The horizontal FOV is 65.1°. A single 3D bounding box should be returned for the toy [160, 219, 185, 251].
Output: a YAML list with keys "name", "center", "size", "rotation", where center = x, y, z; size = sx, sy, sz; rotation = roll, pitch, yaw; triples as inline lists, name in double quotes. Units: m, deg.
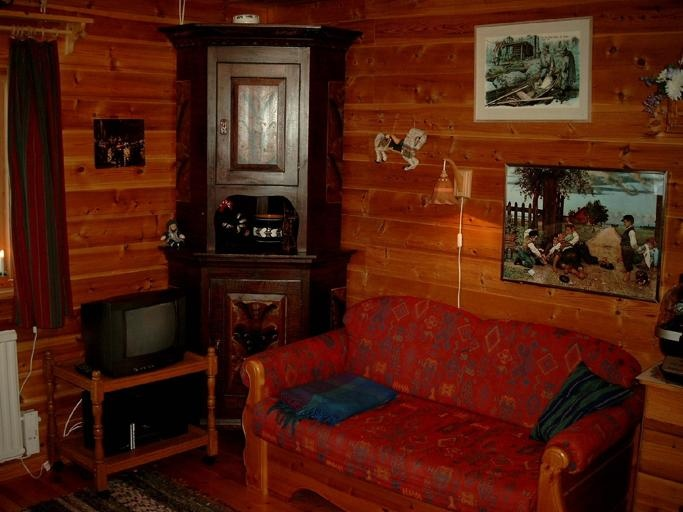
- name: "toy"
  center: [-1.246, -0.152, 3.990]
  size: [0.188, 0.212, 0.067]
  rotation: [-5, 1, -14]

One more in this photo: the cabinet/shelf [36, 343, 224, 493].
- name: "cabinet/shelf"
  center: [-1.436, 1.066, 3.734]
  size: [0.707, 0.746, 0.935]
  rotation: [3, 3, 34]

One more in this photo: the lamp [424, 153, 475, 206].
- name: "lamp"
  center: [0.710, -0.485, 3.563]
  size: [0.287, 0.321, 0.222]
  rotation: [6, 11, 30]

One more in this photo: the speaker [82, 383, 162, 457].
- name: "speaker"
  center: [-1.438, 1.073, 3.606]
  size: [0.275, 0.447, 0.505]
  rotation: [-4, -3, 43]

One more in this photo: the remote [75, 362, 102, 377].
- name: "remote"
  center: [-1.614, 0.707, 3.422]
  size: [0.189, 0.038, 0.100]
  rotation: [17, 21, 42]

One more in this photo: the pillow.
- name: "pillow"
  center: [1.267, 0.817, 2.843]
  size: [0.396, 0.409, 0.317]
  rotation: [-5, 11, -33]

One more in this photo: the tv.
- name: "tv"
  center: [-1.409, 0.490, 3.629]
  size: [0.462, 0.491, 0.625]
  rotation: [8, 9, 24]
